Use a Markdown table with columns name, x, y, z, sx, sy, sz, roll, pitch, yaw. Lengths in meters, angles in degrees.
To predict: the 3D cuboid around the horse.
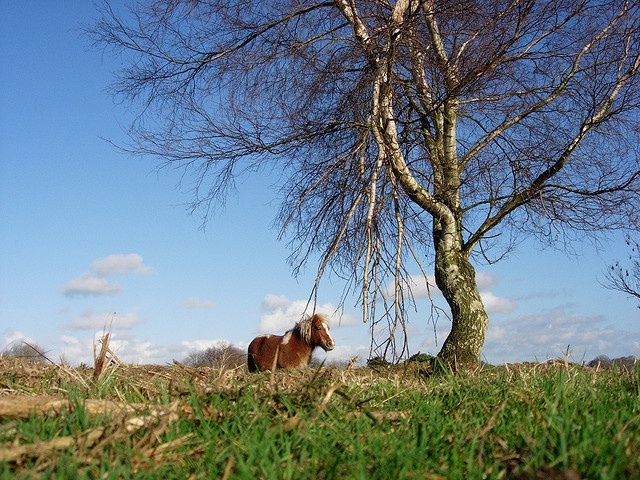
| name | x | y | z | sx | sy | sz | roll | pitch | yaw |
| --- | --- | --- | --- | --- | --- | --- | --- | --- | --- |
| horse | -0.705 | 2.224 | 9.270 | 2.050 | 1.349 | 0.643 | -7 | -9 | 26 |
